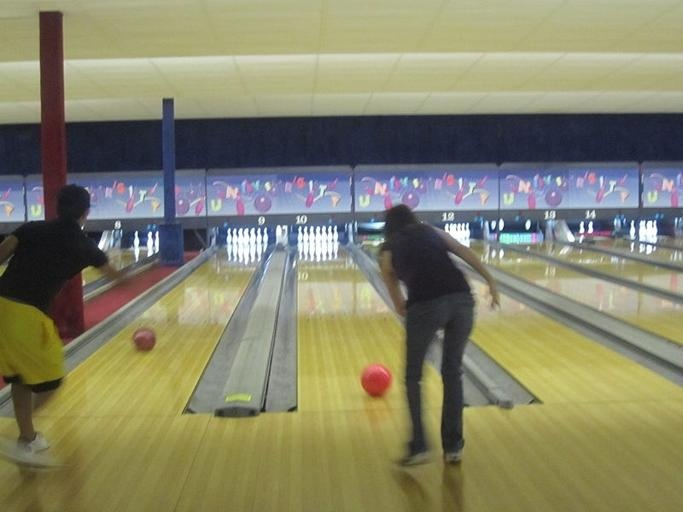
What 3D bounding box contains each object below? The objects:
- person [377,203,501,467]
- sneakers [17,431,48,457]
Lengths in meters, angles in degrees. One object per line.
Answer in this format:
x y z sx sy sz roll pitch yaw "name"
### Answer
0.437 0.344 2.594 0.512 1.128 0.410 0 12 4 "person"
-1.425 0.863 2.607 0.056 0.058 0.132 2 2 9 "sneakers"
